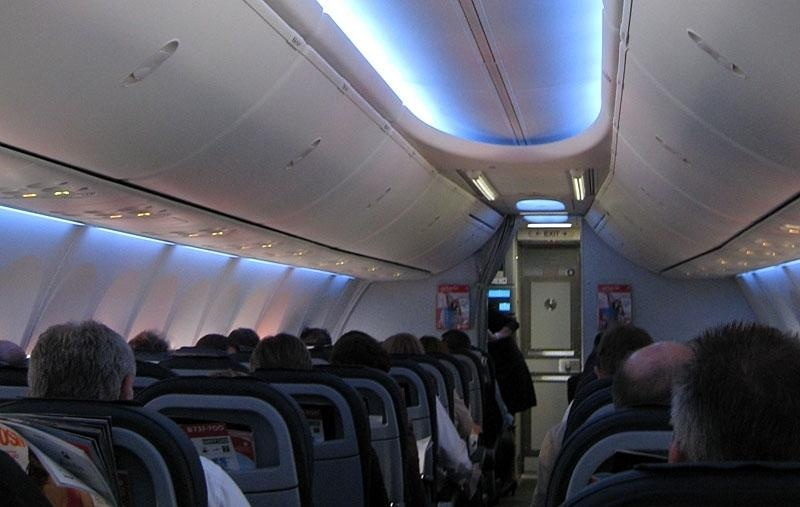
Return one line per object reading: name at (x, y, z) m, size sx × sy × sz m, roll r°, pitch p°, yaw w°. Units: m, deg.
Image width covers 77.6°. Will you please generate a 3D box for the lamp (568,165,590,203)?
lamp at (3.283, -1.238, 9.150) m, size 0.307 × 0.107 × 0.837 m, roll 0°, pitch -38°, yaw 25°
